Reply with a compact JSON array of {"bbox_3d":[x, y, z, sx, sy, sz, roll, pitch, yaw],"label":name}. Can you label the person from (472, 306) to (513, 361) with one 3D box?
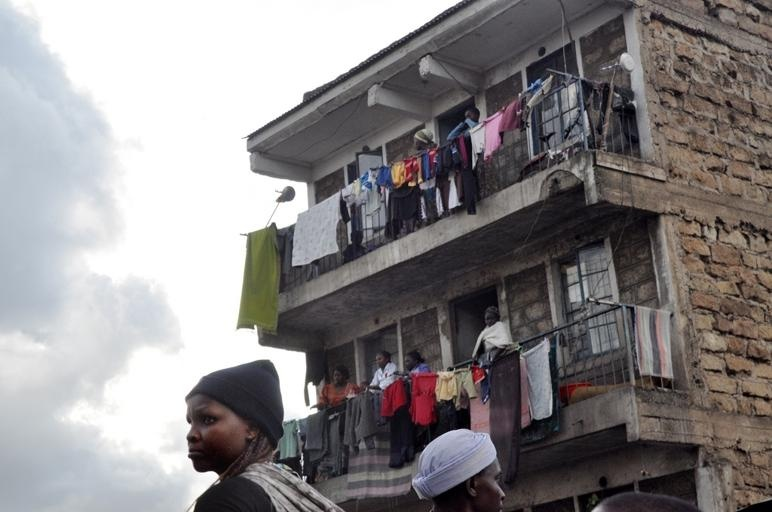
[{"bbox_3d":[2.033,1.515,20.796,0.891,1.144,0.364,-24,-37,38],"label":"person"}]
